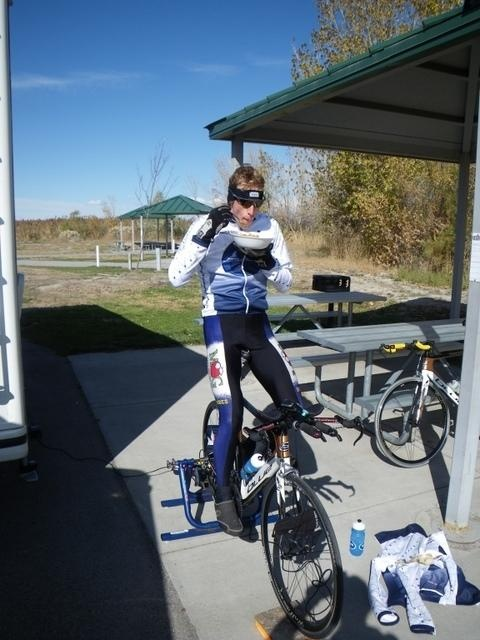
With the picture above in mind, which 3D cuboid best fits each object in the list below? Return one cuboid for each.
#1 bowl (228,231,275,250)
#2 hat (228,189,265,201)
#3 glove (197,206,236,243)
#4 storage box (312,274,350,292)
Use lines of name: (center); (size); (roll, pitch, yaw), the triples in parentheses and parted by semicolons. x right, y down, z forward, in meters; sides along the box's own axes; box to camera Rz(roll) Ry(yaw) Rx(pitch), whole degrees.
bowl: (0.047, -0.341, 2.136); (0.181, 0.082, 0.150); (1, 8, 2)
hat: (0.025, -0.552, 2.199); (0.167, 0.061, 0.085); (3, 8, 16)
glove: (-0.109, -0.406, 2.211); (0.177, 0.111, 0.049); (-42, -29, 23)
storage box: (1.494, -0.614, 8.408); (0.396, 0.248, 0.392); (-1, 11, -19)
